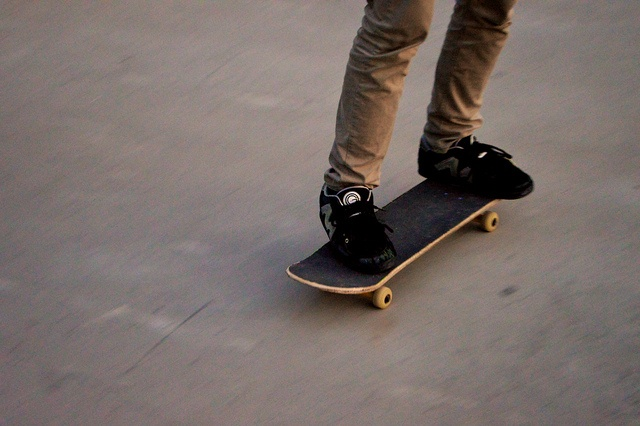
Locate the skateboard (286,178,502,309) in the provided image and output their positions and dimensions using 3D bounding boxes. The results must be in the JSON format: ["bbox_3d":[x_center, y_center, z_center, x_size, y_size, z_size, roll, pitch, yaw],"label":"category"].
[{"bbox_3d":[0.596,0.133,4.548,1.696,0.244,0.455,-23,44,-30],"label":"skateboard"}]

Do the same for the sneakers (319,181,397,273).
[{"bbox_3d":[0.177,0.079,4.222,0.257,0.243,0.576,-22,54,-20],"label":"sneakers"}]
